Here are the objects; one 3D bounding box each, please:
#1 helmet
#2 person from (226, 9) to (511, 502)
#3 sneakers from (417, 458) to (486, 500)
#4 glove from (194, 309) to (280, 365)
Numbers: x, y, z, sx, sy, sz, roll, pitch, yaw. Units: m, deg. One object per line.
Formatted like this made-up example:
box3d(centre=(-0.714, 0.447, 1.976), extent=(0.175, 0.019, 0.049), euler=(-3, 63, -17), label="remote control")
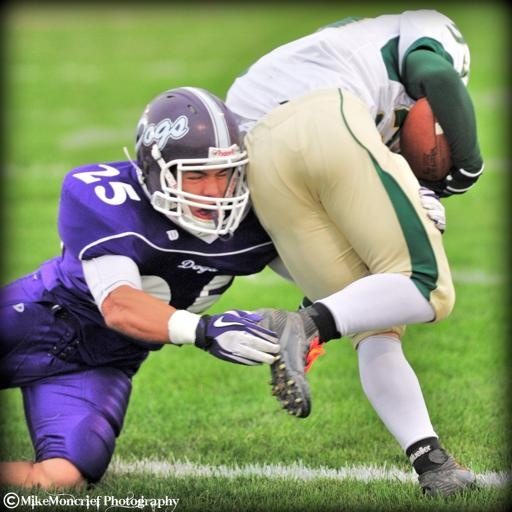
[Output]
box3d(centre=(-0.234, -0.340, 2.489), extent=(0.409, 0.449, 0.544), euler=(-6, 46, -4), label="helmet")
box3d(centre=(0.480, 0.018, 2.685), extent=(1.033, 1.504, 1.708), euler=(-6, 46, -5), label="person")
box3d(centre=(0.673, 0.803, 2.313), extent=(0.198, 0.105, 0.098), euler=(-6, 79, 4), label="sneakers")
box3d(centre=(-0.051, 0.259, 2.079), extent=(0.257, 0.077, 0.158), euler=(10, 56, -5), label="glove")
